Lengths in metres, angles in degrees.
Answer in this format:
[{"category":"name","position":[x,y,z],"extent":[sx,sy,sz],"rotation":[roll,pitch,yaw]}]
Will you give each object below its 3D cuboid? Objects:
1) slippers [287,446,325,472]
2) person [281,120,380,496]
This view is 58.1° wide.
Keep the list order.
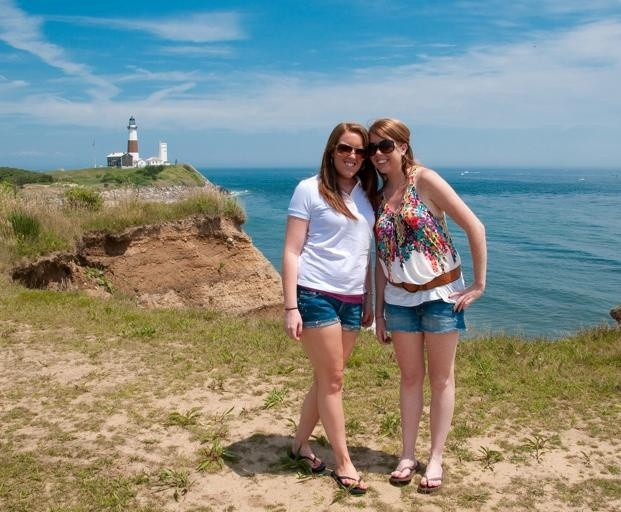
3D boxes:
[{"category":"slippers","position":[-0.033,1.999,5.515],"extent":[0.310,0.094,0.179],"rotation":[13,14,39]},{"category":"person","position":[0.204,0.502,5.192],"extent":[0.835,3.367,0.676],"rotation":[-2,9,5]}]
